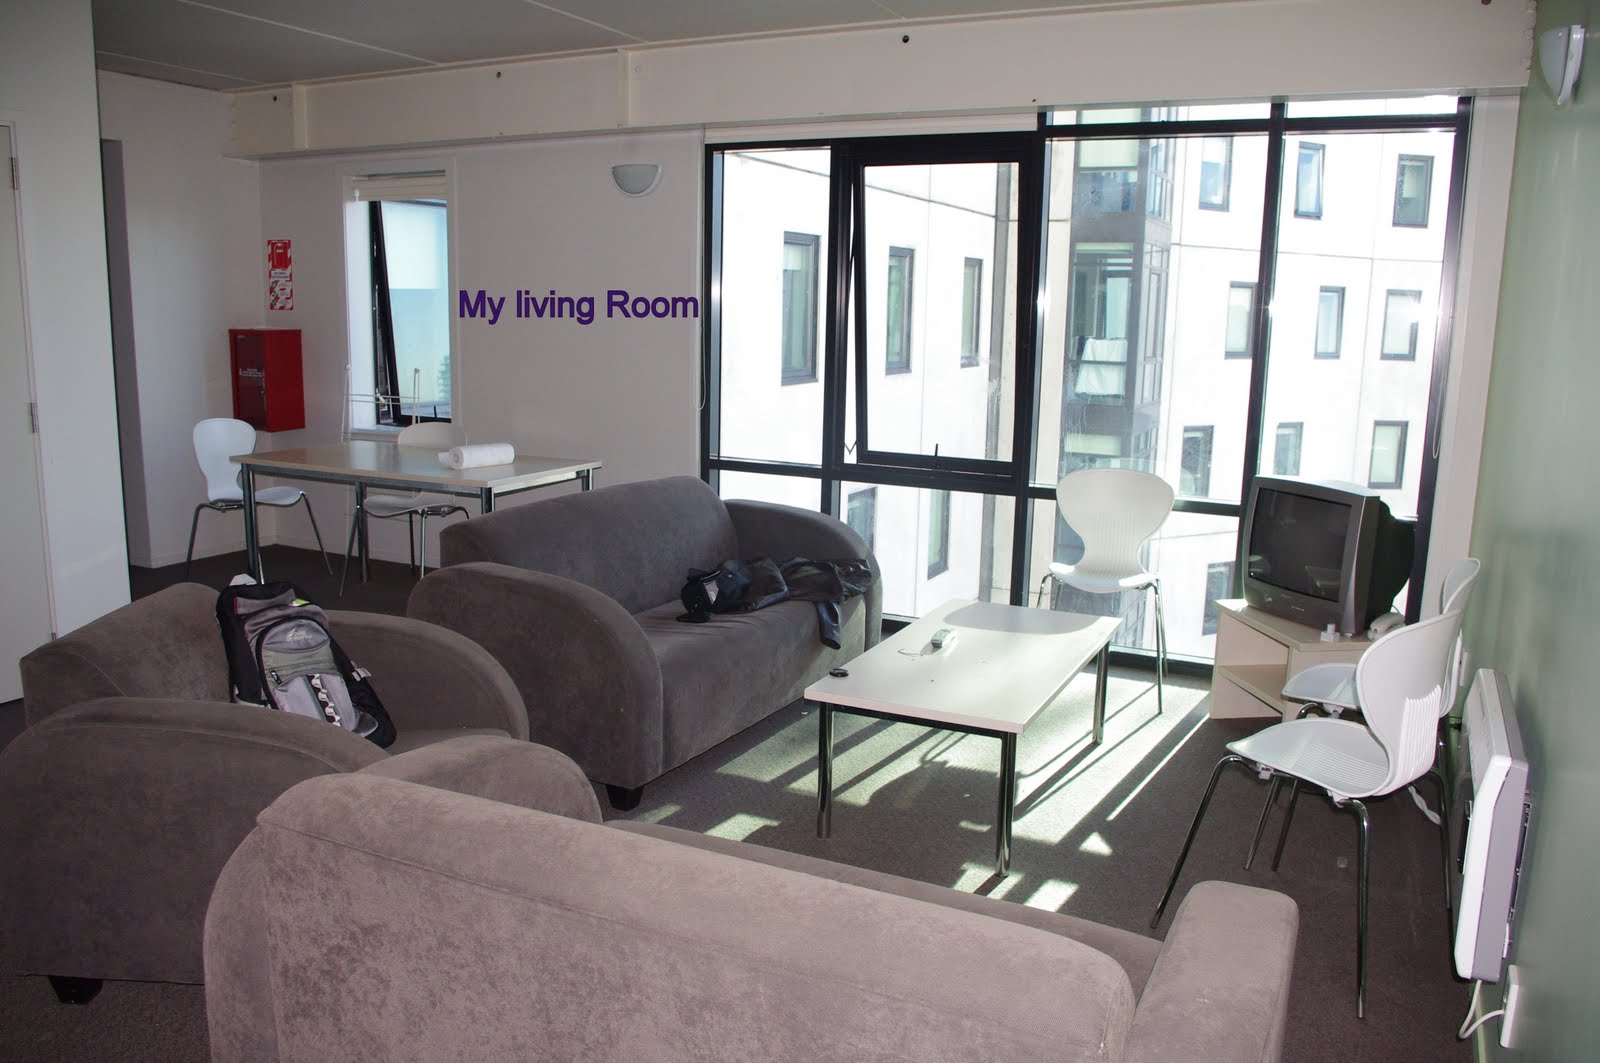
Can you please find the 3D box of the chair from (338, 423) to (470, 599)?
[{"bbox_3d":[-2.493,-0.152,7.903,0.775,1.011,0.772,15,2,-5],"label":"chair"}]

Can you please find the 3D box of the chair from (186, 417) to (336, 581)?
[{"bbox_3d":[-3.698,-0.251,7.955,0.714,1.011,0.671,4,12,11],"label":"chair"}]

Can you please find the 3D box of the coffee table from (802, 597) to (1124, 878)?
[{"bbox_3d":[0.775,0.834,5.170,0.978,0.617,1.604,4,12,24],"label":"coffee table"}]

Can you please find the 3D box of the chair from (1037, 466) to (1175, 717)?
[{"bbox_3d":[1.525,0.342,5.989,0.836,1.217,0.909,6,7,39],"label":"chair"}]

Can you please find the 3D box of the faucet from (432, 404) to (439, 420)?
[{"bbox_3d":[-2.635,-0.865,8.491,0.060,0.115,0.028,1,12,14],"label":"faucet"}]

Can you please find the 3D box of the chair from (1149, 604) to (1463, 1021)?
[{"bbox_3d":[1.880,0.903,4.339,0.777,1.397,0.915,-9,13,-43],"label":"chair"}]

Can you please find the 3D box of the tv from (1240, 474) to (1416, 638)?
[{"bbox_3d":[2.560,0.098,5.614,0.717,0.663,0.707,1,11,-8],"label":"tv"}]

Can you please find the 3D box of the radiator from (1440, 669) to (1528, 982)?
[{"bbox_3d":[2.124,0.939,3.641,0.190,0.740,0.950,6,14,29],"label":"radiator"}]

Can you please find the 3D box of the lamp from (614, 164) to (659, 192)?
[{"bbox_3d":[-1.023,-2.187,7.278,0.322,0.185,0.132,3,13,21],"label":"lamp"}]
